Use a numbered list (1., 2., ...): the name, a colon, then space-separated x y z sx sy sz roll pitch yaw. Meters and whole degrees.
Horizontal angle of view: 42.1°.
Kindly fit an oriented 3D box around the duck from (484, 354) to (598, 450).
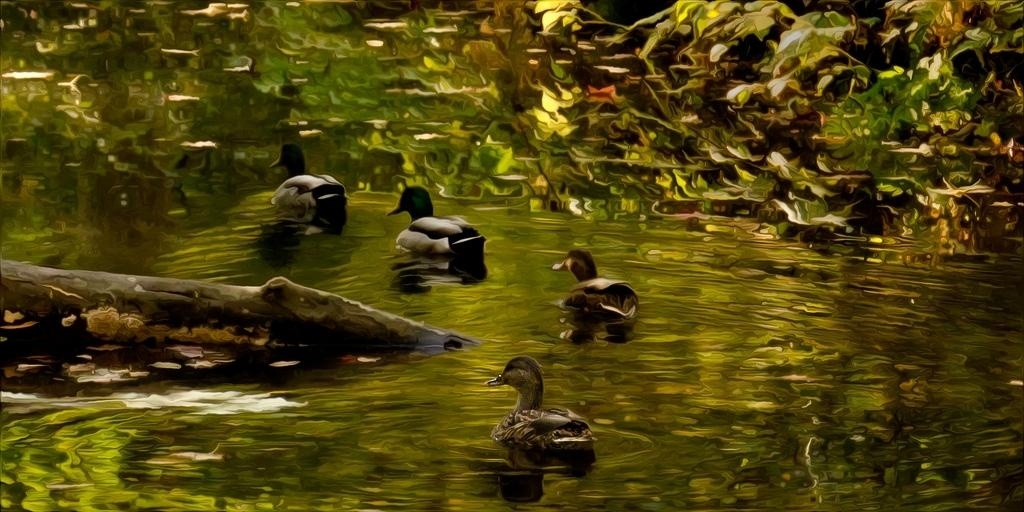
1. duck: 0.331 1.185 10.500 0.650 0.635 1.252 -7 4 -28

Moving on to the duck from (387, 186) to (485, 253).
1. duck: -0.715 -0.316 12.691 0.619 0.585 1.054 2 8 -26
